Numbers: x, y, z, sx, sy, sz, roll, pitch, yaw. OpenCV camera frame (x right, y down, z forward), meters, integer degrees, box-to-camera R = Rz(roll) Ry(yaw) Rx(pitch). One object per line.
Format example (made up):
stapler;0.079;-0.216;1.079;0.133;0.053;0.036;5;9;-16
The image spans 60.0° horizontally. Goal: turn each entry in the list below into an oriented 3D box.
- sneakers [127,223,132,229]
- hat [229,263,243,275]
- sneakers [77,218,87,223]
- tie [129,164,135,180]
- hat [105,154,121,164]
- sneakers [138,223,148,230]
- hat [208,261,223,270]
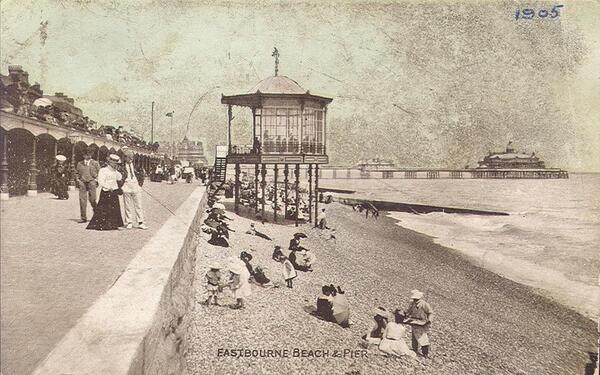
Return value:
sneakers;-5.890;1.334;17.939;0.202;0.155;0.369;1;-4;-16
hat;-2.113;2.720;17.286;0.443;0.418;0.192;-2;4;-37
sneakers;-7.693;1.181;18.323;0.311;0.188;0.158;7;-1;-7
tie;-5.872;-0.551;18.232;0.144;0.550;0.274;1;4;2
hat;-6.402;-0.963;18.039;0.428;0.101;0.390;24;13;21
sneakers;-5.467;1.361;18.137;0.413;0.175;0.164;4;9;43
hat;-2.777;2.566;17.041;0.273;0.282;0.399;0;3;-13
